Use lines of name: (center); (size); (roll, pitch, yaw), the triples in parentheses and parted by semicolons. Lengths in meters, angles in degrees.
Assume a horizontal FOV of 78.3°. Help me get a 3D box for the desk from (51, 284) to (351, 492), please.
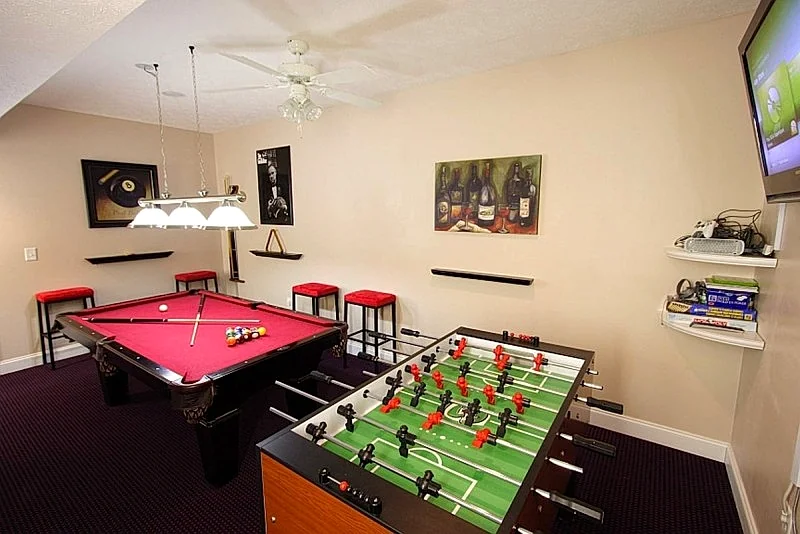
desk: (-1.913, 1.039, 4.785); (2.372, 1.349, 1.615); (5, 8, 38)

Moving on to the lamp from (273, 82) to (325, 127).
lamp: (-0.884, -1.414, 4.323); (0.334, 0.339, 0.245); (-2, 7, -15)

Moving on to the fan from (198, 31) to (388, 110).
fan: (-0.930, -1.657, 4.254); (1.104, 0.381, 1.061); (4, 11, 23)

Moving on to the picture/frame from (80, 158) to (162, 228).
picture/frame: (-3.431, -0.881, 5.966); (0.080, 0.946, 0.987); (7, 15, 37)

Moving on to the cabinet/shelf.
cabinet/shelf: (2.546, 0.275, 4.233); (0.966, 0.881, 0.845); (11, 25, 29)

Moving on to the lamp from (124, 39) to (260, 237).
lamp: (-2.015, -1.058, 4.507); (1.634, 1.429, 0.416); (2, 8, 34)

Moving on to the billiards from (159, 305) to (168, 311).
billiards: (-2.407, 0.418, 5.020); (0.077, 0.047, 0.074); (14, 7, -22)

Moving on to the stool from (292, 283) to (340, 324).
stool: (-1.080, 0.350, 6.108); (0.615, 0.591, 0.472); (5, 7, 36)
